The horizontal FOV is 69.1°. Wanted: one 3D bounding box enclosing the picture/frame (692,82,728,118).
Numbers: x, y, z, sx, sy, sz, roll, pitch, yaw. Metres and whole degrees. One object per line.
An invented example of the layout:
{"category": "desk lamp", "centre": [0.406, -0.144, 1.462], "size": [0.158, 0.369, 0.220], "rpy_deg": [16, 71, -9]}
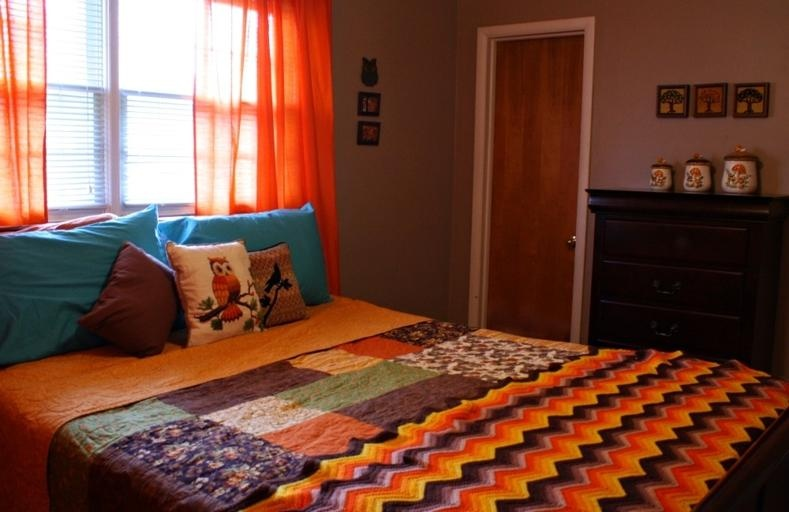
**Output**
{"category": "picture/frame", "centre": [2.153, -1.063, 3.895], "size": [0.262, 0.293, 0.032], "rpy_deg": [4, 5, 39]}

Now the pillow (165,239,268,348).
{"category": "pillow", "centre": [-0.902, 0.207, 2.861], "size": [0.230, 0.512, 0.486], "rpy_deg": [-16, -6, 41]}

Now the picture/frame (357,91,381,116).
{"category": "picture/frame", "centre": [-0.197, -1.121, 4.200], "size": [0.018, 0.165, 0.209], "rpy_deg": [4, 8, 43]}

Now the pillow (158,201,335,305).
{"category": "pillow", "centre": [-0.873, 0.028, 3.339], "size": [0.998, 0.578, 0.289], "rpy_deg": [-3, -2, -28]}

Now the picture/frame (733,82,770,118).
{"category": "picture/frame", "centre": [2.355, -1.028, 3.768], "size": [0.251, 0.277, 0.041], "rpy_deg": [4, 6, 39]}

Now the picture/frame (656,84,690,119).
{"category": "picture/frame", "centre": [1.957, -1.085, 4.009], "size": [0.262, 0.282, 0.068], "rpy_deg": [4, 1, 41]}

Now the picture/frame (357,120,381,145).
{"category": "picture/frame", "centre": [-0.200, -0.914, 4.227], "size": [0.201, 0.141, 0.027], "rpy_deg": [-12, 18, -43]}
